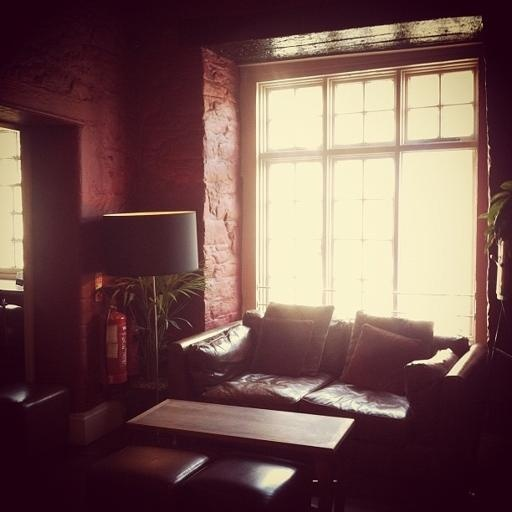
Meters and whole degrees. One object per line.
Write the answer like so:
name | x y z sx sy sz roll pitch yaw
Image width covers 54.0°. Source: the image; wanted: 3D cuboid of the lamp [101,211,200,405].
lamp | -0.644 0.040 3.039 0.417 1.737 0.485 -5 10 -15

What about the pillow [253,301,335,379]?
pillow | 0.368 0.607 3.683 0.461 0.490 0.142 4 -12 43

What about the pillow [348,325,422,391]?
pillow | 0.799 0.674 3.248 0.118 0.388 0.383 22 -4 -40

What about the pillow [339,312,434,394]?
pillow | 0.864 0.618 3.275 0.475 0.508 0.145 0 -14 40

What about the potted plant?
potted plant | -0.770 0.569 3.759 0.514 0.907 0.517 3 4 -38
